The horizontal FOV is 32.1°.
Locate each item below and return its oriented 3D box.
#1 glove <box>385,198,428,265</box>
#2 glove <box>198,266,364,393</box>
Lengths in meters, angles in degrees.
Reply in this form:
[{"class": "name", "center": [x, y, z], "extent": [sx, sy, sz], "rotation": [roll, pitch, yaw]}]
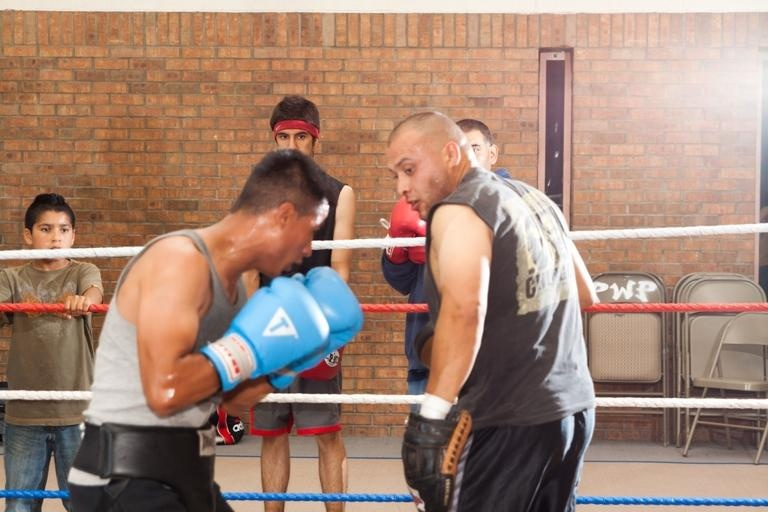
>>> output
[{"class": "glove", "center": [0.173, -0.165, 9.263], "extent": [0.191, 0.407, 0.336], "rotation": [6, -12, 46]}, {"class": "glove", "center": [-0.644, 0.455, 7.998], "extent": [1.018, 0.562, 0.328], "rotation": [-27, -3, -17]}]
